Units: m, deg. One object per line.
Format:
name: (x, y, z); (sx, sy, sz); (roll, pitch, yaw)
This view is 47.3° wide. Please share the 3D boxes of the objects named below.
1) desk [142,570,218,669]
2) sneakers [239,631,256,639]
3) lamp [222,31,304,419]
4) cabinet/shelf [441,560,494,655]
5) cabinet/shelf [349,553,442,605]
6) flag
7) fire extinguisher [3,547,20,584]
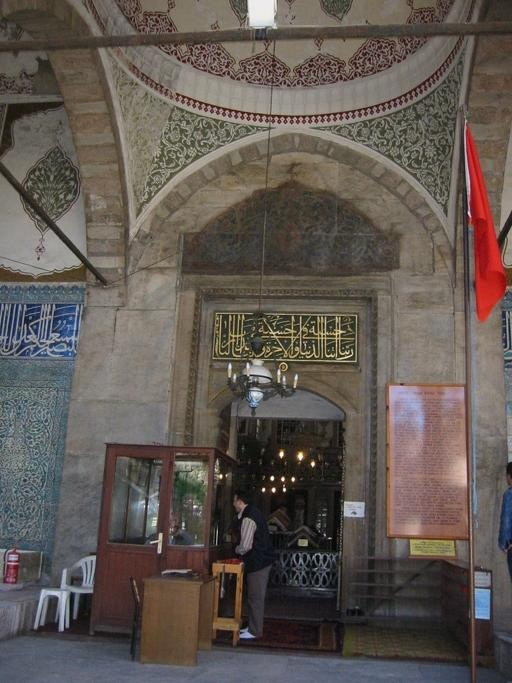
desk: (-0.527, 1.892, 4.054); (0.432, 0.513, 0.808); (3, -16, -1)
sneakers: (-0.073, 2.372, 4.717); (0.147, 0.062, 0.045); (1, -14, 3)
lamp: (0.171, -1.263, 6.463); (0.740, 4.174, 1.633); (4, -16, -2)
cabinet/shelf: (1.625, 2.058, 4.522); (0.288, 0.683, 1.902); (-2, -16, 16)
cabinet/shelf: (1.342, 2.374, 5.719); (0.887, 0.498, 0.396); (-1, -17, 15)
flag: (1.243, -0.690, 3.207); (0.164, 1.220, 0.369); (-4, -17, 21)
fire extinguisher: (-2.322, 2.157, 5.570); (0.153, 0.310, 0.163); (9, -17, -20)
